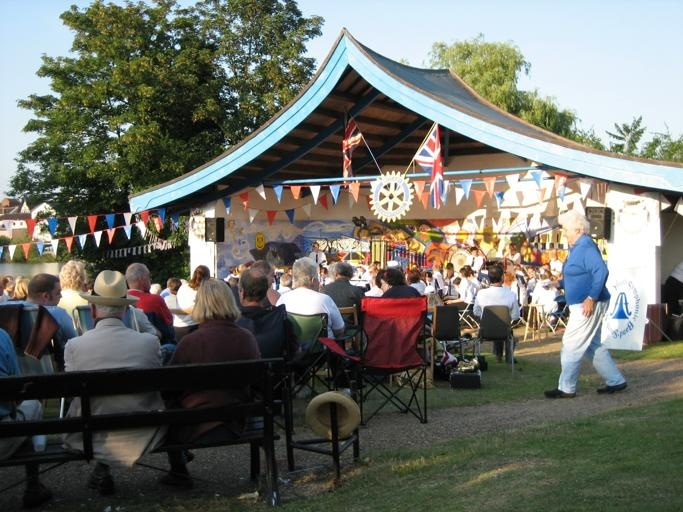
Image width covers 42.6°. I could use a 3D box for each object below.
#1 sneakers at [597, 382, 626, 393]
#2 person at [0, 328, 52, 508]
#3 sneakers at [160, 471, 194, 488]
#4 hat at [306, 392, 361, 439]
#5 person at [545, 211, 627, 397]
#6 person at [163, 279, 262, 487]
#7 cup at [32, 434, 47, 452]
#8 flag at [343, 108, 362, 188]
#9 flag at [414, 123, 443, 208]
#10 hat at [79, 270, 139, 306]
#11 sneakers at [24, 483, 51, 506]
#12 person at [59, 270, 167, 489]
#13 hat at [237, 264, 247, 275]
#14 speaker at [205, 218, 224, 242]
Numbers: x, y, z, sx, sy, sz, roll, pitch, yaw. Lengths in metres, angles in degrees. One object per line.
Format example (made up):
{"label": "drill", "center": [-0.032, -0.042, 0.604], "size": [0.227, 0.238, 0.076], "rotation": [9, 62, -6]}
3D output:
{"label": "sneakers", "center": [3.105, 1.508, 10.161], "size": [0.335, 0.201, 0.136], "rotation": [-2, -2, 16]}
{"label": "person", "center": [-2.735, 1.404, 7.536], "size": [0.387, 1.545, 0.623], "rotation": [-4, 4, -20]}
{"label": "sneakers", "center": [-1.483, 2.025, 7.949], "size": [0.282, 0.149, 0.136], "rotation": [7, -2, 14]}
{"label": "hat", "center": [-0.084, 1.442, 7.888], "size": [0.463, 0.492, 0.302], "rotation": [-3, 4, -5]}
{"label": "person", "center": [2.778, 0.556, 10.076], "size": [0.659, 2.166, 0.629], "rotation": [-5, 5, -37]}
{"label": "person", "center": [-1.151, 1.143, 7.719], "size": [0.866, 1.871, 0.581], "rotation": [-3, 4, -4]}
{"label": "cup", "center": [-2.587, 1.598, 7.510], "size": [0.090, 0.076, 0.201], "rotation": [1, 3, -21]}
{"label": "flag", "center": [0.190, -2.080, 17.153], "size": [0.390, 1.923, 0.129], "rotation": [-13, -41, 20]}
{"label": "flag", "center": [1.565, -1.693, 16.000], "size": [0.556, 1.841, 0.189], "rotation": [3, 42, 10]}
{"label": "hat", "center": [-2.085, 0.285, 7.905], "size": [0.513, 0.256, 0.622], "rotation": [-1, 13, -25]}
{"label": "sneakers", "center": [-2.637, 2.084, 7.589], "size": [0.110, 0.143, 0.304], "rotation": [1, 1, 9]}
{"label": "person", "center": [-1.991, 1.135, 7.643], "size": [0.853, 1.958, 0.776], "rotation": [-3, 4, -15]}
{"label": "hat", "center": [-1.465, 0.193, 12.803], "size": [0.101, 0.166, 0.157], "rotation": [2, 33, 5]}
{"label": "speaker", "center": [-2.648, -0.551, 18.367], "size": [0.387, 0.682, 0.431], "rotation": [0, 0, 3]}
